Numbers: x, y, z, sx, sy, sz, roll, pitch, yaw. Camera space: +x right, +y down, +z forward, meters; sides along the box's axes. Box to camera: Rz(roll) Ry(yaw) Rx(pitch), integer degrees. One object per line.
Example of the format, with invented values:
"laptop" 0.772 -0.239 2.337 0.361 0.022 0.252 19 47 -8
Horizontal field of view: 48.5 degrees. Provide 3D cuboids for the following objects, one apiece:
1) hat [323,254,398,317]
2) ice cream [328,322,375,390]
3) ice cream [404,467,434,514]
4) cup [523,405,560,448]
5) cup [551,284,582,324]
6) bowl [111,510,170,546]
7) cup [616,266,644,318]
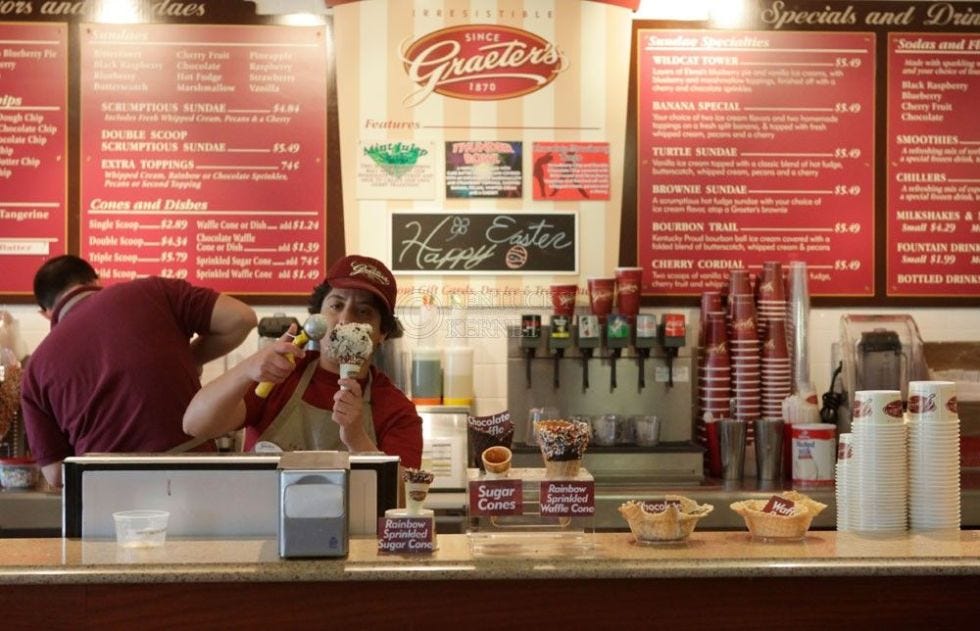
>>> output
"hat" -0.562 -0.173 4.837 0.348 0.207 0.427 16 -6 -17
"ice cream" -0.572 0.180 4.385 0.201 0.278 0.133 2 -6 -7
"ice cream" -0.285 0.676 4.174 0.132 0.191 0.117 5 4 -11
"cup" 0.243 0.566 5.727 0.274 0.247 0.248 2 -10 -5
"cup" 0.403 -0.072 5.926 0.127 0.207 0.209 -1 -1 2
"bowl" -1.303 0.778 4.072 0.161 0.084 0.158 1 -8 0
"cup" 0.764 -0.130 5.998 0.142 0.273 0.191 -1 -1 6
